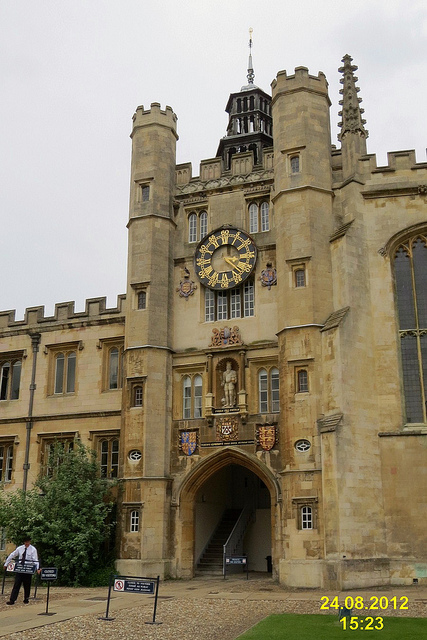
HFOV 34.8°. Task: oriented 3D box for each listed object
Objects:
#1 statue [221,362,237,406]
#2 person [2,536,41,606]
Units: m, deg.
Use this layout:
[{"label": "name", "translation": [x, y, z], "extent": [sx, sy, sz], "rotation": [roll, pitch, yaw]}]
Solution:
[{"label": "statue", "translation": [0.552, 2.227, 23.587], "extent": [0.498, 1.572, 0.258], "rotation": [0, -18, -1]}, {"label": "person", "translation": [-4.652, 6.084, 16.627], "extent": [0.772, 1.512, 4.315], "rotation": [4, -20, -13]}]
